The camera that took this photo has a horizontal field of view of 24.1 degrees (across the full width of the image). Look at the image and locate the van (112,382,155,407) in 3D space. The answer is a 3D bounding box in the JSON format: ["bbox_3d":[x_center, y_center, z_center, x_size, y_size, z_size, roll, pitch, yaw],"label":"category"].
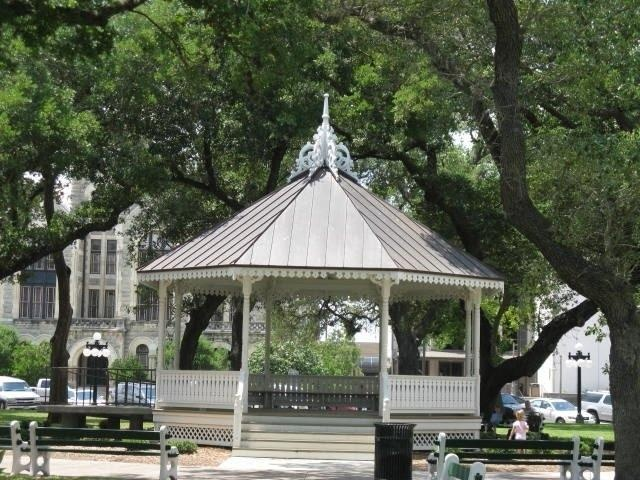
[{"bbox_3d":[-7.241,6.068,58.375,2.018,1.086,1.305,-10,-10,29],"label":"van"}]
